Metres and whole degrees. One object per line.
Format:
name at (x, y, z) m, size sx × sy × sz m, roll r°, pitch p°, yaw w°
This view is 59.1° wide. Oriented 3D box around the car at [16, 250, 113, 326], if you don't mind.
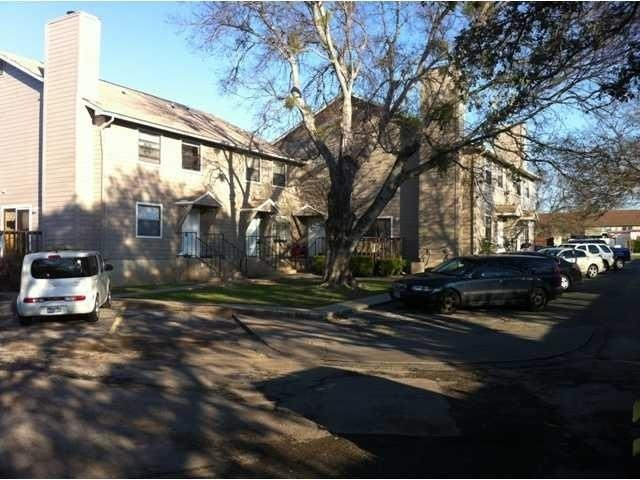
car at (-6.841, 1.211, 15.184) m, size 1.770 × 1.876 × 1.958 m, roll 0°, pitch 6°, yaw -3°
